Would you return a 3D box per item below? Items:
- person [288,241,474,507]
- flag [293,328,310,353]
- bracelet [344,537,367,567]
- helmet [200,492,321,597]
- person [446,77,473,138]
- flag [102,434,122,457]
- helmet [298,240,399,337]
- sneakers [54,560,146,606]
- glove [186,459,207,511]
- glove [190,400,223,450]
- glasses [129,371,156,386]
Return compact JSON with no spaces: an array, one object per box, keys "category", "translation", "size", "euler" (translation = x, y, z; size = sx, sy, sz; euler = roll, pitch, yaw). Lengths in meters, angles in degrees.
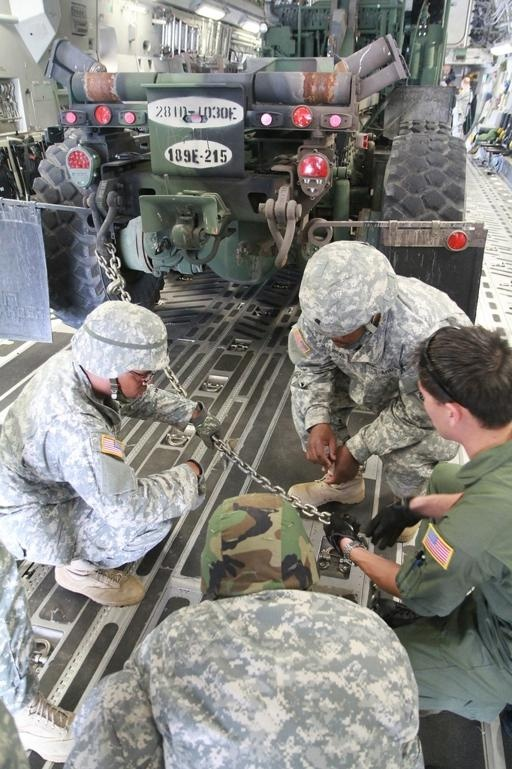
[{"category":"person","translation":[0.619,0.030,2.583],"size":[0.935,1.620,0.885],"euler":[8,31,19]},{"category":"flag","translation":[0.234,-0.226,2.566],"size":[0.027,0.107,0.113],"euler":[-26,9,7]},{"category":"bracelet","translation":[0.363,0.648,1.890],"size":[0.080,0.120,0.118],"euler":[2,64,2]},{"category":"helmet","translation":[0.005,0.582,1.798],"size":[0.452,0.331,0.319],"euler":[-2,-13,-11]},{"category":"person","translation":[7.318,-9.838,17.111],"size":[0.519,1.851,1.174],"euler":[12,30,17]},{"category":"flag","translation":[-0.539,0.233,1.796],"size":[0.069,0.096,0.090],"euler":[-5,29,-13]},{"category":"helmet","translation":[0.391,-0.431,2.086],"size":[0.360,0.372,0.471],"euler":[16,42,33]},{"category":"sneakers","translation":[-0.675,0.886,2.199],"size":[0.419,0.172,0.184],"euler":[13,47,0]},{"category":"glove","translation":[-0.262,0.462,2.207],"size":[0.076,0.209,0.159],"euler":[-5,-1,1]},{"category":"glove","translation":[-0.251,0.219,2.412],"size":[0.100,0.156,0.241],"euler":[11,39,-50]},{"category":"glasses","translation":[-0.464,-0.026,1.951],"size":[0.082,0.026,0.083],"euler":[17,9,33]}]
